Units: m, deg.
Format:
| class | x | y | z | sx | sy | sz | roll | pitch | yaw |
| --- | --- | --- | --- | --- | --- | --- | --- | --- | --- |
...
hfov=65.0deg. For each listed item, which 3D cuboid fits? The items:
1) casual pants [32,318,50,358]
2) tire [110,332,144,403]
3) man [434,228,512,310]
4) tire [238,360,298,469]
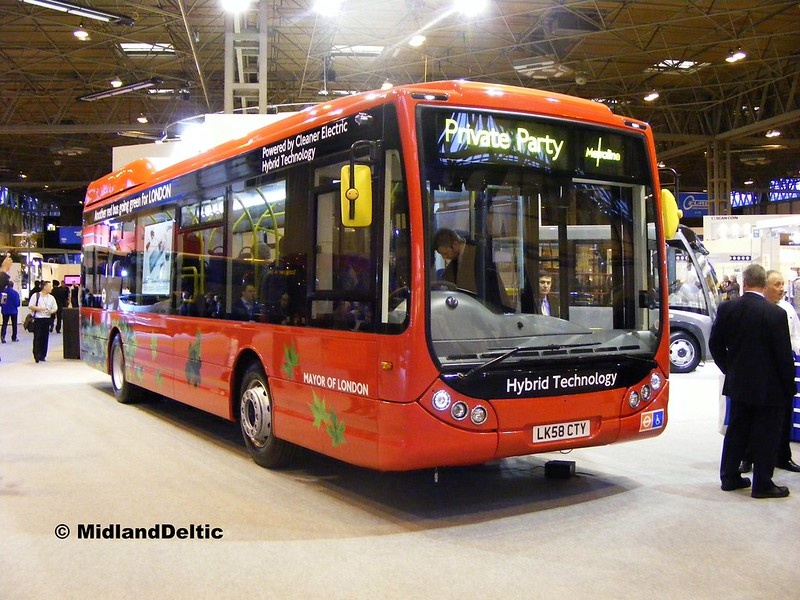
| class | x | y | z | sx | sy | sz | roll | pitch | yaw |
| --- | --- | --- | --- | --- | --- | --- | --- | --- | --- |
| casual pants | -10.220 | 1.122 | 17.977 | 0.396 | 1.189 | 1.062 | 0 | 1 | -30 |
| tire | -4.697 | 1.146 | 10.881 | 0.323 | 1.101 | 1.009 | -2 | 16 | -29 |
| man | 0.622 | -0.254 | 5.489 | 0.859 | 0.710 | 0.197 | -1 | 1 | -40 |
| tire | -1.407 | 1.235 | 6.826 | 0.337 | 1.180 | 0.967 | 2 | 11 | -32 |
